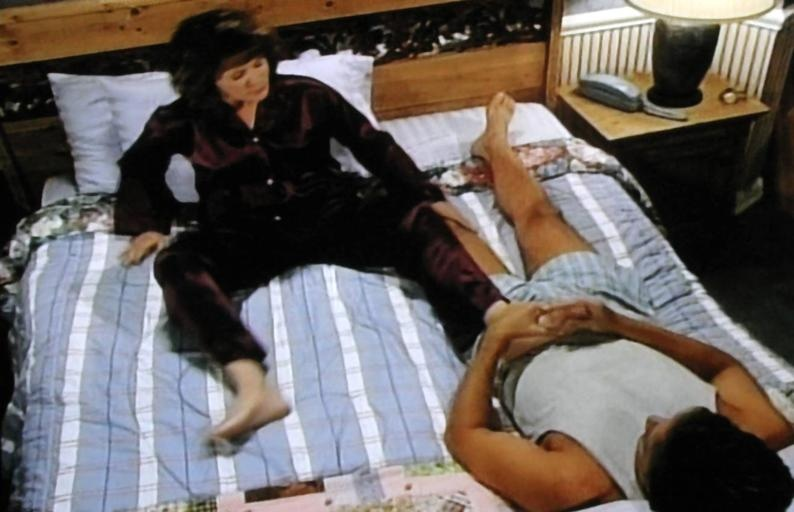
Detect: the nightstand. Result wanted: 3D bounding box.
[{"bbox_3d":[1.066,-0.364,2.743,0.706,0.810,0.524,-16,70,2],"label":"nightstand"}]
